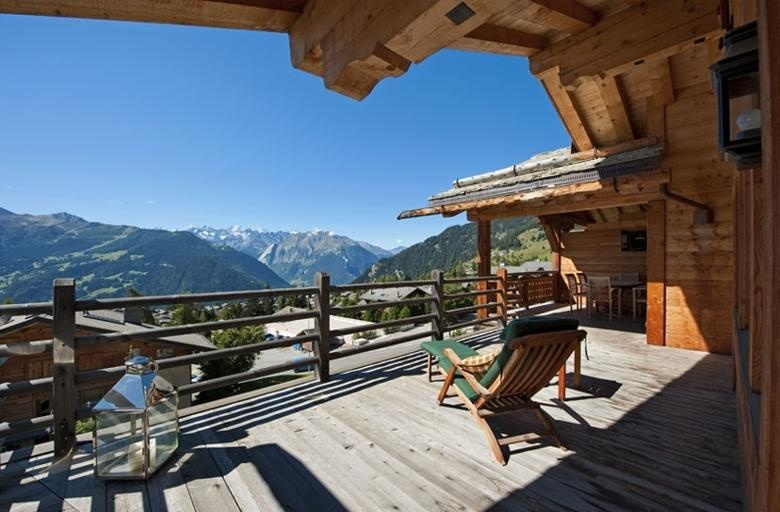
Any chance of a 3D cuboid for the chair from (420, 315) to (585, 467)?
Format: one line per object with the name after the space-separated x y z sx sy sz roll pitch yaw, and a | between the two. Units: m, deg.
1.184 1.170 4.818 0.944 1.193 2.021 -1 0 -14 | chair
